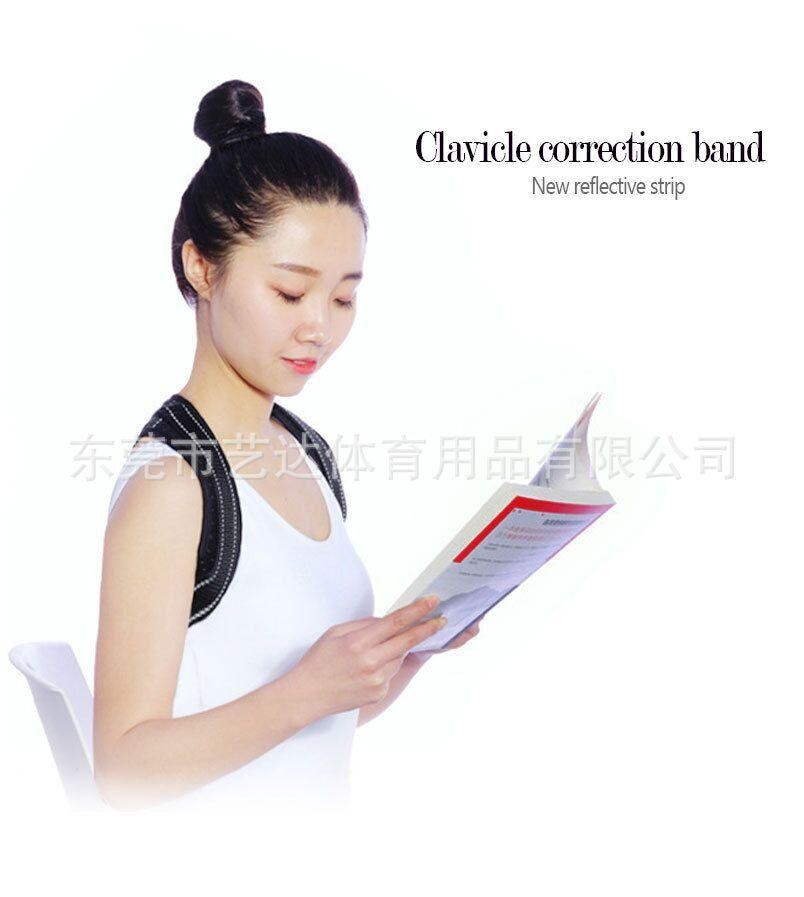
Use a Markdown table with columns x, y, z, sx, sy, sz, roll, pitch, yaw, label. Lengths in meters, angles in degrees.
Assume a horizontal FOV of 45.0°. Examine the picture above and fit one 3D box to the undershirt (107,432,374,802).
| x | y | z | sx | sy | sz | roll | pitch | yaw | label |
| --- | --- | --- | --- | --- | --- | --- | --- | --- | --- |
| -0.326 | 0.293 | 2.190 | 0.542 | 0.668 | 0.429 | 0 | 10 | 27 | undershirt |
